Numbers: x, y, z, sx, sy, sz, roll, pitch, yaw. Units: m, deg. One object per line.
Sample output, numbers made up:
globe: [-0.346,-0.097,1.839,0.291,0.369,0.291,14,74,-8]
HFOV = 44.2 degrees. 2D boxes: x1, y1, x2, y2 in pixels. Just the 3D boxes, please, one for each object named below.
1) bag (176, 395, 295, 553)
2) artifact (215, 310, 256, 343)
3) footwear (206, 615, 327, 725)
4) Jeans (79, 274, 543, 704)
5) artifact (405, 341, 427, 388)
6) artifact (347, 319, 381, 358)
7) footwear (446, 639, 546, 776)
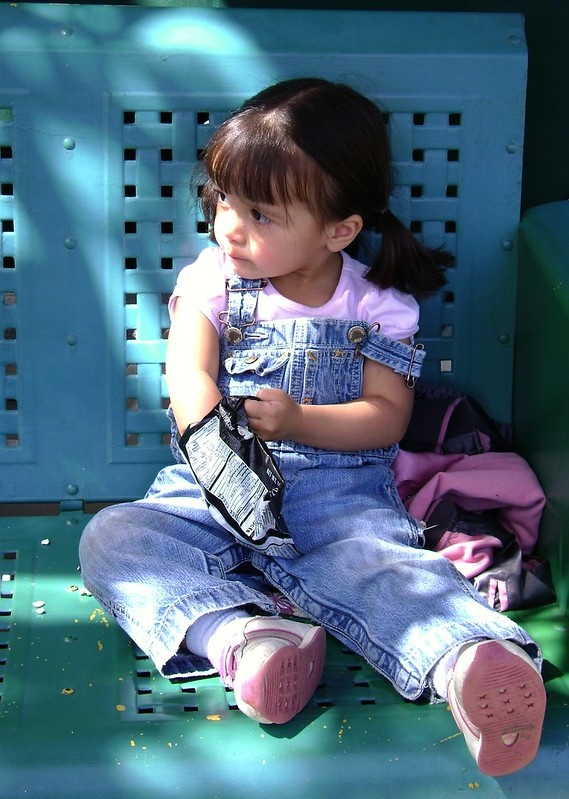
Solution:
bag: [-0.058,0.090,0.806,0.124,0.182,0.078,0,16,11]
artifact: [-0.066,-0.101,0.950,0.051,0.044,0.011,8,-5,4]
footwear: [-0.020,0.241,0.640,0.058,0.050,0.119,4,3,15]
Jeans: [-0.011,0.112,0.908,0.468,0.252,0.718,-4,29,-2]
artifact: [0.179,-0.047,0.987,0.023,0.073,0.007,21,-3,-25]
artifact: [0.110,-0.081,0.951,0.038,0.046,0.013,6,10,-23]
footwear: [0.173,0.250,0.597,0.070,0.100,0.053,-2,-4,-17]
